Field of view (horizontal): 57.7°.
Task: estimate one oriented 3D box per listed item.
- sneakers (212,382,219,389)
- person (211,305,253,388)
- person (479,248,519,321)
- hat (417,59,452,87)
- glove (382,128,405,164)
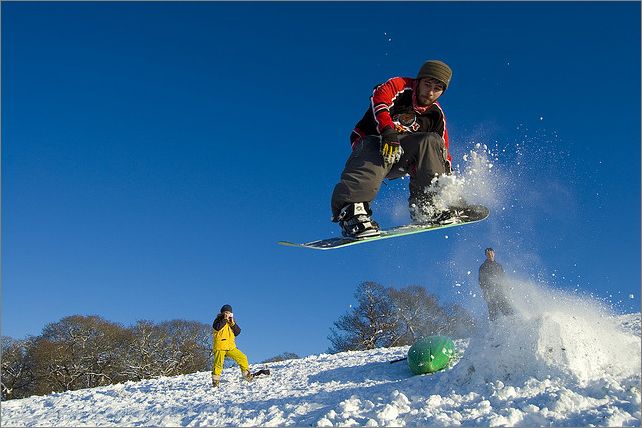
[{"bbox_3d":[-2.809,4.535,15.504,0.151,0.244,0.143,-1,-2,31],"label":"sneakers"},{"bbox_3d":[-2.438,3.604,15.928,1.034,2.292,0.766,-1,-30,-10],"label":"person"},{"bbox_3d":[4.795,1.929,15.939,0.815,1.977,1.574,-6,-2,15],"label":"person"},{"bbox_3d":[2.617,-3.187,13.163,0.695,0.594,0.815,18,-3,17],"label":"hat"},{"bbox_3d":[1.514,-1.488,12.613,0.498,0.698,0.239,2,-8,-12],"label":"glove"}]
